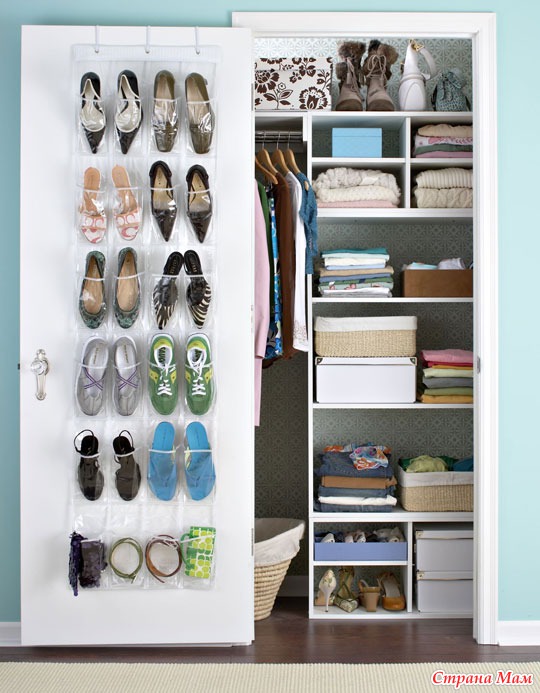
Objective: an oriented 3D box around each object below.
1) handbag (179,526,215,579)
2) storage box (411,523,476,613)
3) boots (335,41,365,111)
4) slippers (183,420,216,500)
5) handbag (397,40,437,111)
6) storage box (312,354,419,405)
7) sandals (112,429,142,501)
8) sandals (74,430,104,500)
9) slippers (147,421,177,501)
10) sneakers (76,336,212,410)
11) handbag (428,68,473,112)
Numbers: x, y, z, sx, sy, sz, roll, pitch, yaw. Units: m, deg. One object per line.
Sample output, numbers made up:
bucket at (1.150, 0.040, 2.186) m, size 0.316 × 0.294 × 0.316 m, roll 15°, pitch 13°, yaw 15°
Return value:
handbag at (-0.243, 0.696, 2.511) m, size 0.108 × 0.181 × 0.041 m, roll -2°, pitch -43°, yaw 0°
storage box at (0.714, 0.846, 3.070) m, size 0.214 × 0.380 × 0.333 m, roll 0°, pitch -5°, yaw 6°
boots at (0.337, -1.085, 3.137) m, size 0.102 × 0.278 × 0.361 m, roll -3°, pitch 18°, yaw 13°
slippers at (-0.243, 0.383, 2.535) m, size 0.100 × 0.292 × 0.061 m, roll 1°, pitch -38°, yaw -10°
handbag at (0.623, -1.083, 3.148) m, size 0.114 × 0.469 × 0.169 m, roll 0°, pitch 0°, yaw 4°
storage box at (0.385, 0.141, 2.994) m, size 0.393 × 0.176 × 0.087 m, roll 1°, pitch 2°, yaw 8°
sandals at (-0.488, 0.398, 2.506) m, size 0.088 × 0.236 × 0.038 m, roll -2°, pitch -35°, yaw -24°
sandals at (-0.616, 0.391, 2.507) m, size 0.075 × 0.231 × 0.057 m, roll -5°, pitch -37°, yaw -15°
slippers at (-0.368, 0.391, 2.519) m, size 0.105 × 0.265 × 0.078 m, roll 0°, pitch 1°, yaw -12°
sneakers at (-0.413, 0.101, 2.599) m, size 0.348 × 0.279 × 0.111 m, roll -1°, pitch 7°, yaw -5°
handbag at (0.763, -1.050, 3.139) m, size 0.121 × 0.222 × 0.197 m, roll 0°, pitch 1°, yaw 9°
